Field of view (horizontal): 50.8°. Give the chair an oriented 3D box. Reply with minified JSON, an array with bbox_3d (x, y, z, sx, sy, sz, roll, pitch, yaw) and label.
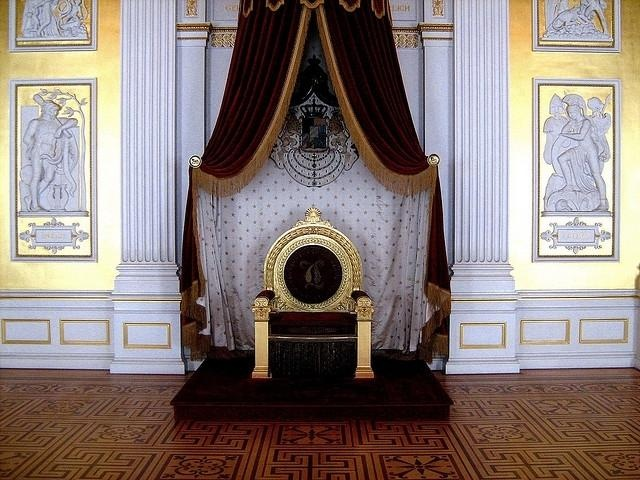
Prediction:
[{"bbox_3d":[-0.094,0.557,6.408,1.549,2.161,0.812,0,-6,-1],"label":"chair"}]
